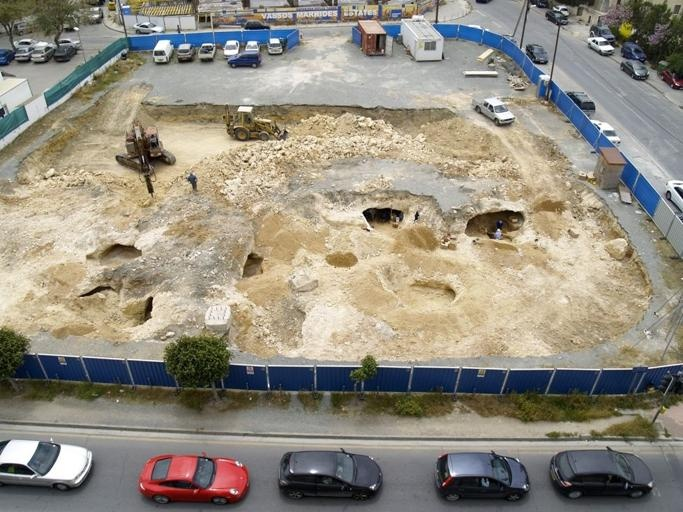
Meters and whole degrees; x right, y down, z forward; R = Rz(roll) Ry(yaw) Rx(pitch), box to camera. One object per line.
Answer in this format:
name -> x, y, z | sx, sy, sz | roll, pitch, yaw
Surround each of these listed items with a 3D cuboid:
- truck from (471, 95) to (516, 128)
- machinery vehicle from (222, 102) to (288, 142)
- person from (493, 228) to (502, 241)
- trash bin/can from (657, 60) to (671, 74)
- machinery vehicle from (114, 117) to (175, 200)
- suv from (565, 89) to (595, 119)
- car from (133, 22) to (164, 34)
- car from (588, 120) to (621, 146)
truck -> 13.931, -13.196, 49.595 | 2.123, 1.511, 4.224 | -30, 58, -16
machinery vehicle -> -8.164, -11.789, 47.680 | 6.533, 3.317, 2.616 | 1, 60, 1
person -> 11.237, -1.541, 38.577 | 0.469, 0.948, 0.638 | 23, 89, 18
trash bin/can -> 33.663, -19.537, 55.930 | 1.272, 0.847, 1.838 | 13, 82, 34
machinery vehicle -> -15.767, -8.303, 42.539 | 4.613, 2.865, 8.218 | -19, 37, -16
suv -> 21.904, -13.861, 49.376 | 1.865, 1.540, 3.170 | 4, 47, 2
car -> -24.360, -28.610, 67.373 | 3.292, 1.177, 2.396 | -14, 42, -16
car -> 22.236, -10.295, 45.162 | 1.698, 1.185, 3.473 | -10, 45, -4
